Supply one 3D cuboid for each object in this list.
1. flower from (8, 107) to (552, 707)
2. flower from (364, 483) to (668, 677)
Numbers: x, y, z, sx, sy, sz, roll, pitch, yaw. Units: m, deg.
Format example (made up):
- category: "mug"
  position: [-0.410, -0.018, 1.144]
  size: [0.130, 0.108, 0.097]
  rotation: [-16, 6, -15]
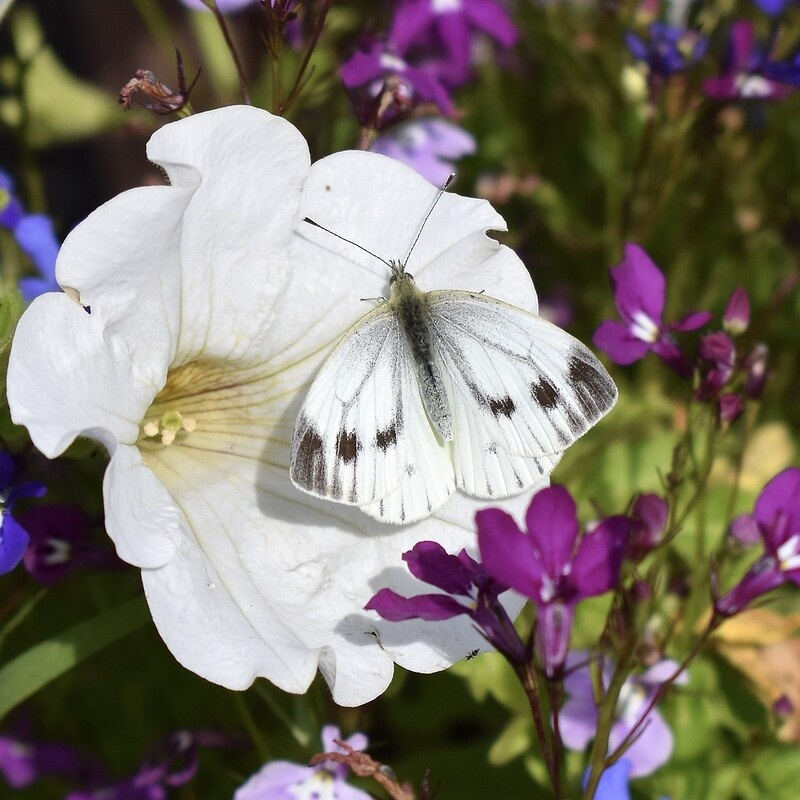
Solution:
- category: "flower"
  position: [-0.140, 0.004, 1.167]
  size: [0.452, 0.582, 0.401]
  rotation: [-3, 28, 4]
- category: "flower"
  position: [0.115, 0.196, 1.156]
  size: [0.221, 0.289, 0.127]
  rotation: [11, -2, 11]
